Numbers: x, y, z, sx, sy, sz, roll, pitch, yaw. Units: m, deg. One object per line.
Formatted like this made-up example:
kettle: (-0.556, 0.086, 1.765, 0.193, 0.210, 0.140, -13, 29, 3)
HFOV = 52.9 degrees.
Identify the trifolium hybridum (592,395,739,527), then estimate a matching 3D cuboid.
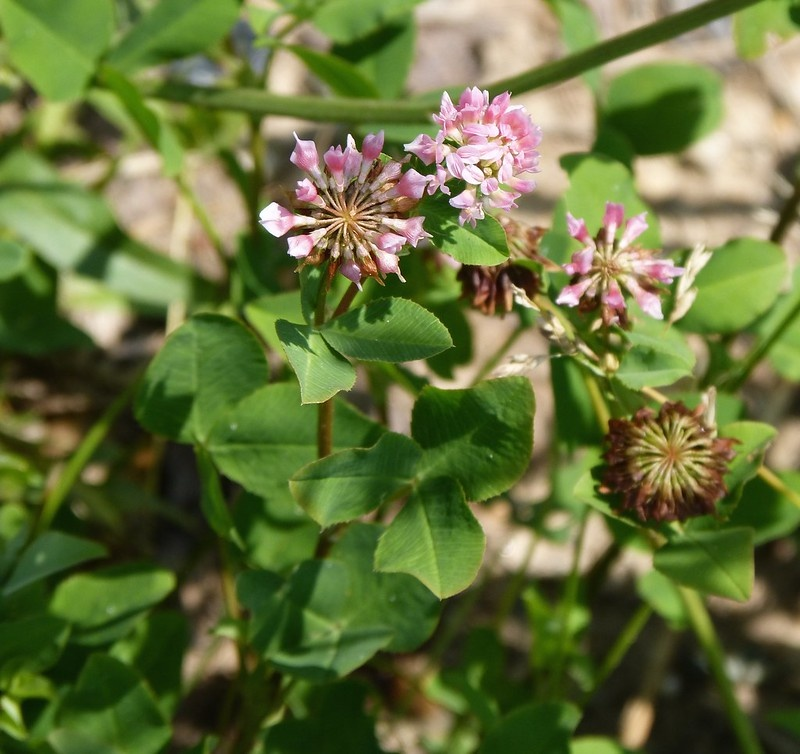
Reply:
trifolium hybridum: (0.299, 0.083, 0.886, 0.148, 0.140, 0.045, 9, -3, -12)

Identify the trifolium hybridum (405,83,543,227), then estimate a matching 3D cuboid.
trifolium hybridum: (0.061, -0.240, 0.766, 0.084, 0.032, 0.079, -8, -18, -43)

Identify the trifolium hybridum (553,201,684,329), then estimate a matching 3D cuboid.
trifolium hybridum: (0.224, -0.119, 0.854, 0.138, 0.108, 0.085, -16, 38, -2)

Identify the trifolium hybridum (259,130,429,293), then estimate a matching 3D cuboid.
trifolium hybridum: (-0.051, -0.184, 0.784, 0.174, 0.085, 0.205, 32, 39, 31)
